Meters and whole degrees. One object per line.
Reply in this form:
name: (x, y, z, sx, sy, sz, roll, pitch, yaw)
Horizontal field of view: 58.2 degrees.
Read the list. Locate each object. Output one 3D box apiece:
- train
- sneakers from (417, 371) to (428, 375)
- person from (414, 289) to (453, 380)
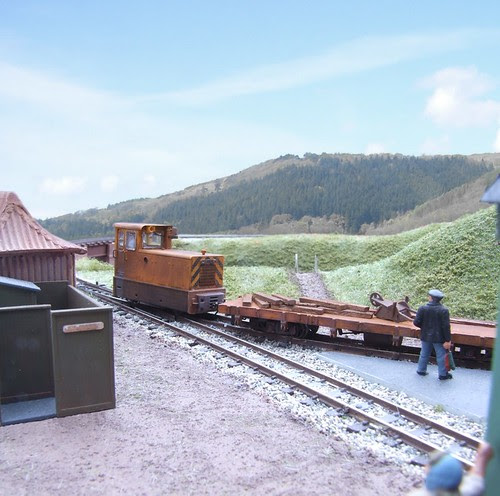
train: (1.995, 0.509, 18.173, 15.332, 3.052, 12.665, 4, 6, 37)
sneakers: (3.604, 2.566, 9.295, 0.153, 0.078, 0.085, 13, 8, 3)
person: (3.721, 1.746, 9.056, 0.733, 1.805, 0.494, 3, 5, 27)
